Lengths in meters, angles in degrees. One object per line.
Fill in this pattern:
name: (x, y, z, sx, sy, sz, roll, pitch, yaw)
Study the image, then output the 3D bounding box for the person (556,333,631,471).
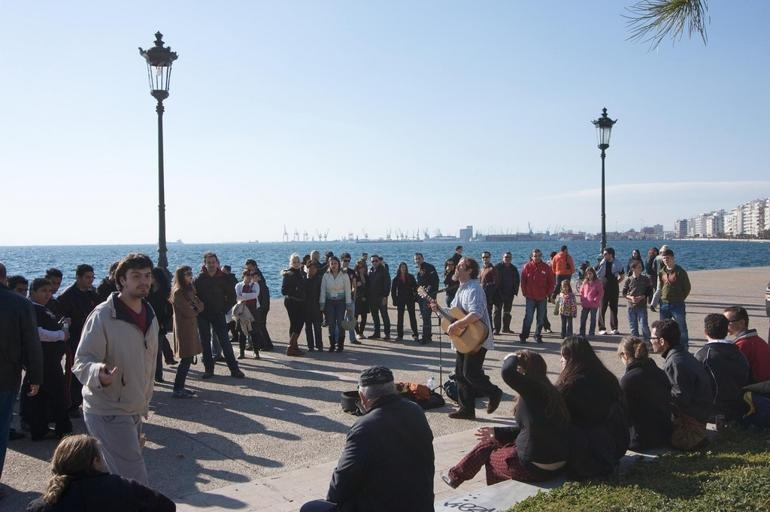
person: (2.486, 1.819, 9.334, 0.880, 1.584, 0.320, -1, 0, -11)

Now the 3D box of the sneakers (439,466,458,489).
sneakers: (0.777, 2.751, 9.512, 0.113, 0.153, 0.315, -5, -11, -11)

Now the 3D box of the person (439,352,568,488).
person: (1.557, 1.982, 9.263, 1.259, 1.527, 0.566, -1, 0, 14)

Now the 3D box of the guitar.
guitar: (1.048, 0.986, 11.882, 0.162, 0.460, 1.127, 31, 11, -46)

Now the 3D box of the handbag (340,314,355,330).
handbag: (-0.814, 1.440, 16.660, 0.137, 0.381, 0.354, -23, -7, 22)

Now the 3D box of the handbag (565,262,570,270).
handbag: (4.894, 0.305, 20.771, 0.123, 0.132, 0.031, 5, -6, -12)

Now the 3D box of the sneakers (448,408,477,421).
sneakers: (1.170, 2.389, 11.707, 0.410, 0.197, 0.157, 4, -4, 6)

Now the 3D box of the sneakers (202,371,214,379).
sneakers: (-3.205, 2.180, 14.087, 0.234, 0.192, 0.090, 1, 0, 16)

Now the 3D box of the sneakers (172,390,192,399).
sneakers: (-3.316, 2.284, 12.785, 0.322, 0.145, 0.127, 0, 3, -3)

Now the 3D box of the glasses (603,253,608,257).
glasses: (5.122, -0.009, 18.073, 0.070, 0.040, 0.101, -1, 8, -4)
